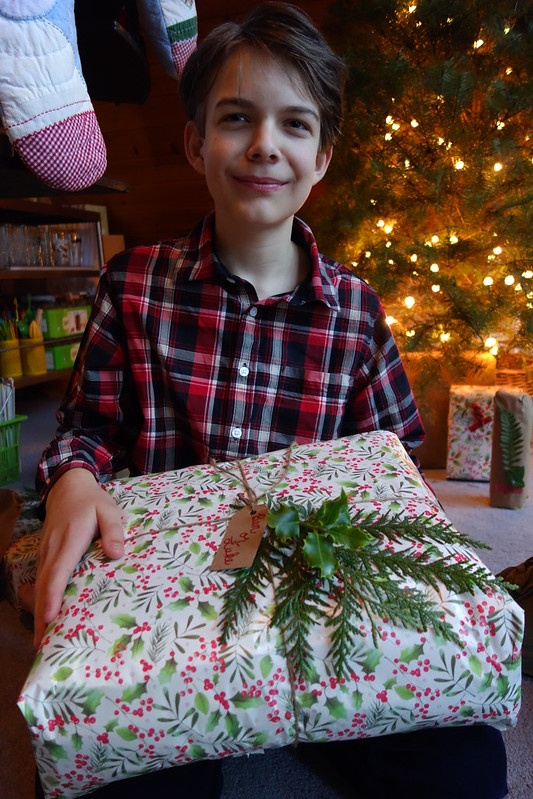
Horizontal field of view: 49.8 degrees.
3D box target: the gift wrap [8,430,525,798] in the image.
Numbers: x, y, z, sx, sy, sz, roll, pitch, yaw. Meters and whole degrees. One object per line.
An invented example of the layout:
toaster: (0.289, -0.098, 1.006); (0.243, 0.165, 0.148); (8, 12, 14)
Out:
gift wrap: (0.028, 0.231, 0.546); (0.408, 0.142, 0.319); (-9, 32, -9)
